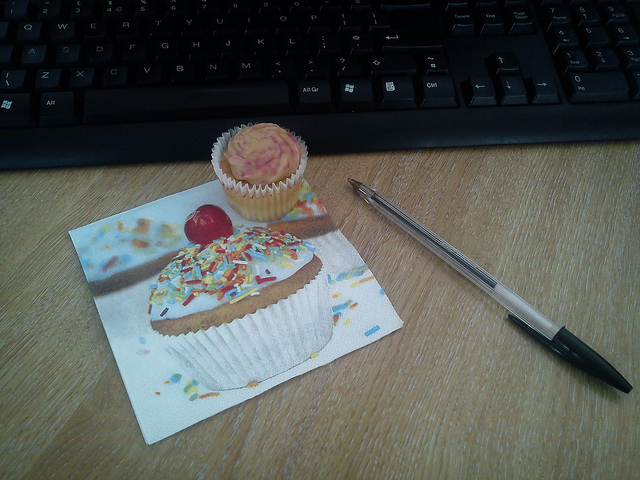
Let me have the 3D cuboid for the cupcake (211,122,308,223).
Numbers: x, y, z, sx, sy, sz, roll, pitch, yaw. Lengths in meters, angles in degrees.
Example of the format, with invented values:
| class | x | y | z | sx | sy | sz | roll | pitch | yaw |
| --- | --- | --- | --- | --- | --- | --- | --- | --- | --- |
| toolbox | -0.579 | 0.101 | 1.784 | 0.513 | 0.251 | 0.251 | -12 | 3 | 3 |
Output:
| class | x | y | z | sx | sy | sz | roll | pitch | yaw |
| --- | --- | --- | --- | --- | --- | --- | --- | --- | --- |
| cupcake | -0.082 | -0.094 | 0.738 | 0.117 | 0.114 | 0.141 | -2 | 55 | -3 |

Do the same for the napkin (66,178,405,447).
| class | x | y | z | sx | sy | sz | roll | pitch | yaw |
| --- | --- | --- | --- | --- | --- | --- | --- | --- | --- |
| napkin | -0.106 | 0.079 | 0.709 | 0.322 | 0.120 | 0.336 | -26 | 56 | -15 |
